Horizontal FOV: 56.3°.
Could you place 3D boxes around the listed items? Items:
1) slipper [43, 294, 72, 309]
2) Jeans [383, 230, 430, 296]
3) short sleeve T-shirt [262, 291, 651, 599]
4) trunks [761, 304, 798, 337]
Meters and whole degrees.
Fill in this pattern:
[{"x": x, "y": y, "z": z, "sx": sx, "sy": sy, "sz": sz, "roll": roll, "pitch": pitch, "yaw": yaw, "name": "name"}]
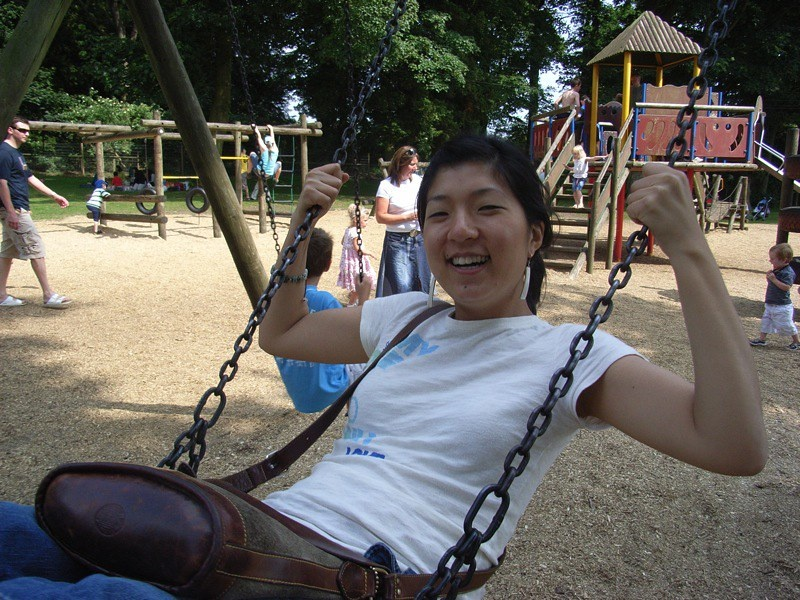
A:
[{"x": -3.584, "y": 0.006, "z": 7.828, "sx": 0.254, "sy": 0.131, "sz": 0.108, "roll": 3, "pitch": 8, "yaw": 21, "name": "slipper"}, {"x": 0.055, "y": -0.331, "z": 6.252, "sx": 0.439, "sy": 0.645, "sz": 0.264, "roll": -14, "pitch": 40, "yaw": -20, "name": "Jeans"}, {"x": 0.209, "y": 0.551, "z": 2.684, "sx": 0.623, "sy": 1.046, "sz": 1.065, "roll": 36, "pitch": -17, "yaw": -35, "name": "short sleeve T-shirt"}, {"x": 3.422, "y": 0.187, "z": 6.795, "sx": 0.149, "sy": 0.286, "sz": 0.274, "roll": 5, "pitch": -6, "yaw": -35, "name": "trunks"}]
